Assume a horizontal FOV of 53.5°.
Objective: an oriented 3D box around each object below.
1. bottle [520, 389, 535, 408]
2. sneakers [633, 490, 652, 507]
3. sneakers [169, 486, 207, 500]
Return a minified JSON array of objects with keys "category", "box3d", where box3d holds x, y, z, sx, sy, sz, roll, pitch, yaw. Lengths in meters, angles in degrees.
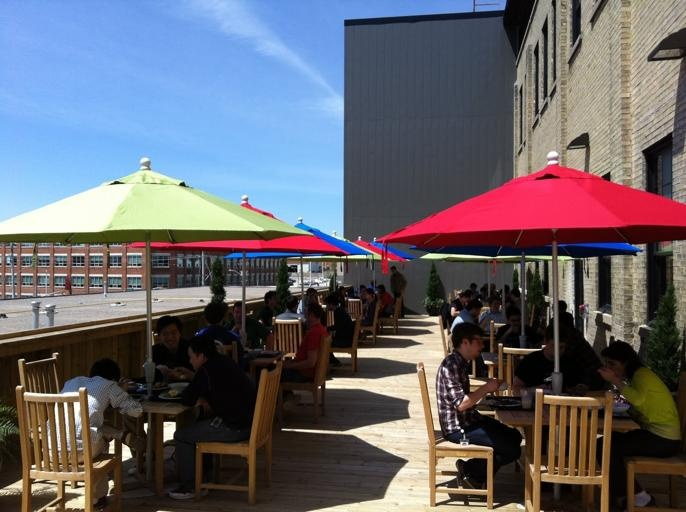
[{"category":"bottle","box3d":[1.936,1.522,7.222,0.153,0.235,0.162,0,-7,0]},{"category":"sneakers","box3d":[3.051,2.477,6.933,0.163,0.140,0.144,-2,-2,23]},{"category":"sneakers","box3d":[-1.699,2.601,7.482,0.342,0.169,0.156,7,-11,1]}]
